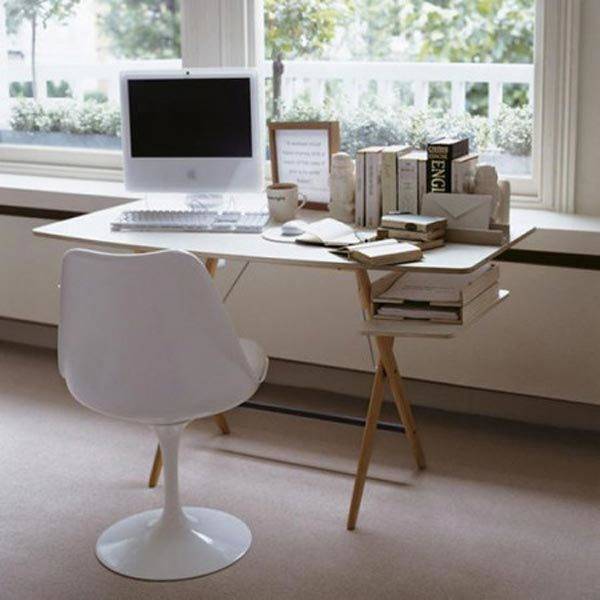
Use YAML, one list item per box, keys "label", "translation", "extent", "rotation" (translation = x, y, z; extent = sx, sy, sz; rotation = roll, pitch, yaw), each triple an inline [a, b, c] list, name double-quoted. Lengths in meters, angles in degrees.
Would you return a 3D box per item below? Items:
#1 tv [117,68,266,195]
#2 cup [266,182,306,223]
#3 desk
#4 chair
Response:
- label: "tv"
  translation: [-0.340, -0.536, 1.793]
  extent: [0.398, 0.345, 0.041]
  rotation: [0, 8, 3]
- label: "cup"
  translation: [-0.026, -0.303, 1.743]
  extent: [0.136, 0.103, 0.088]
  rotation: [-1, 11, 8]
- label: "desk"
  translation: [0.027, 0.184, 1.742]
  extent: [1.114, 0.717, 0.588]
  rotation: [7, 16, 41]
- label: "chair"
  translation: [-0.296, 0.262, 1.250]
  extent: [0.448, 0.788, 0.491]
  rotation: [-1, 12, -3]
